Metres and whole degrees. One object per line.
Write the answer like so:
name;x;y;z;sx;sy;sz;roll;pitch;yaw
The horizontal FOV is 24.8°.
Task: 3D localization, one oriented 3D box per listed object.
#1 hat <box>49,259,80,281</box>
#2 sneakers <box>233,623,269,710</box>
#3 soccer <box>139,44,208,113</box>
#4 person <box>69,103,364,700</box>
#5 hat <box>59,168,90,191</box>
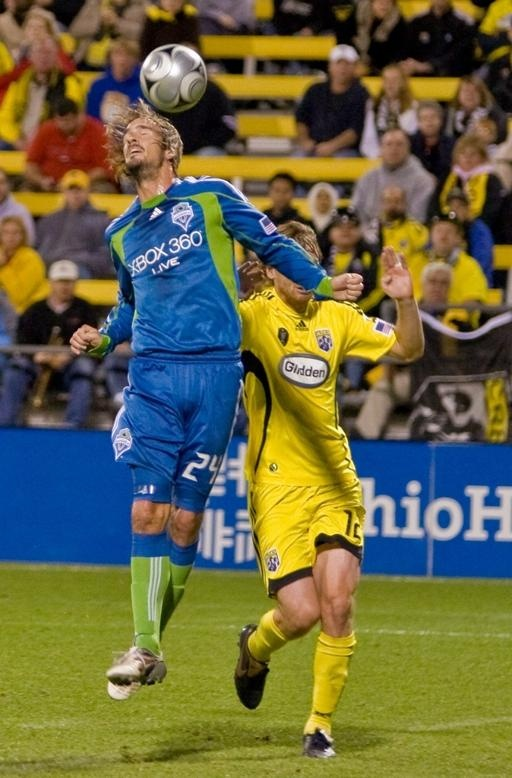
hat;-1.464;-0.888;8.819;0.181;0.129;0.253;1;-1;-7
sneakers;-0.008;0.985;4.221;0.109;0.302;0.166;-2;5;-38
soccer;-0.380;-1.401;5.305;0.296;0.298;0.346;-1;18;-5
person;-0.238;0.031;4.050;0.778;1.919;1.285;-3;19;-9
hat;-1.578;-1.790;10.080;0.252;0.186;0.363;-2;10;2
